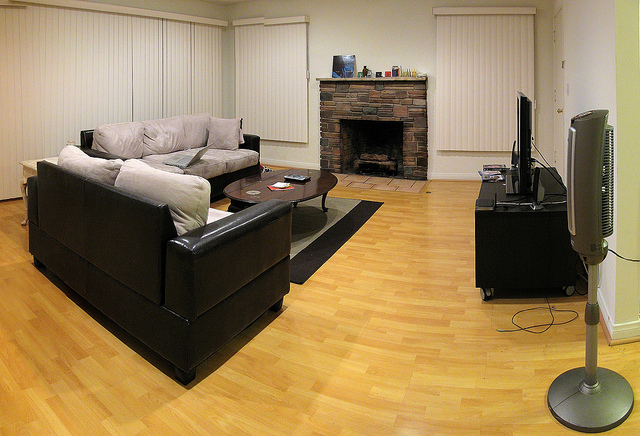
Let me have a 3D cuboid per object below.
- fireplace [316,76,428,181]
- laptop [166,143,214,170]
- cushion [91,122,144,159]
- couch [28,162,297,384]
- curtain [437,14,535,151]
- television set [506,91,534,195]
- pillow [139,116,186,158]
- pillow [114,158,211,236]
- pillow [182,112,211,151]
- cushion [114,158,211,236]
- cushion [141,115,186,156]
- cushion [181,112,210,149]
[{"bbox_3d":[0.988,-1.604,8.113,1.992,1.609,0.733,10,19,30],"label":"fireplace"},{"bbox_3d":[-1.835,-0.778,6.296,0.476,0.282,0.475,21,37,12],"label":"laptop"},{"bbox_3d":[-2.706,-1.019,6.199,0.241,0.452,0.692,16,20,22],"label":"cushion"},{"bbox_3d":[-1.563,0.118,4.279,2.527,1.213,1.330,18,25,30],"label":"couch"},{"bbox_3d":[2.563,-2.128,7.348,1.489,2.098,0.289,3,16,11],"label":"curtain"},{"bbox_3d":[1.871,-0.684,4.284,0.234,0.895,0.486,6,17,21],"label":"television set"},{"bbox_3d":[-2.246,-1.194,6.864,0.735,0.447,0.259,-3,30,8],"label":"pillow"},{"bbox_3d":[-1.235,-0.143,3.563,0.774,0.387,0.257,17,33,19],"label":"pillow"},{"bbox_3d":[-1.963,-1.440,7.372,0.277,0.511,0.783,5,18,23],"label":"pillow"},{"bbox_3d":[-1.215,-0.147,3.584,0.729,0.412,0.261,9,19,30],"label":"cushion"},{"bbox_3d":[-2.338,-1.210,6.878,0.272,0.470,0.789,19,26,26],"label":"cushion"},{"bbox_3d":[-1.933,-1.323,7.163,0.201,0.542,0.593,3,16,41],"label":"cushion"}]
